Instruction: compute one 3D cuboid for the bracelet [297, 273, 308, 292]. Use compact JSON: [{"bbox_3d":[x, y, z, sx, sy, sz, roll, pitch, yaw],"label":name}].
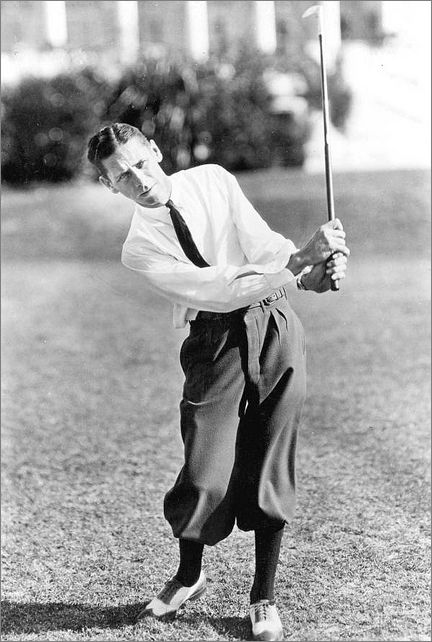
[{"bbox_3d":[0.244,-0.112,2.813,0.033,0.038,0.034,-1,-15,10],"label":"bracelet"}]
